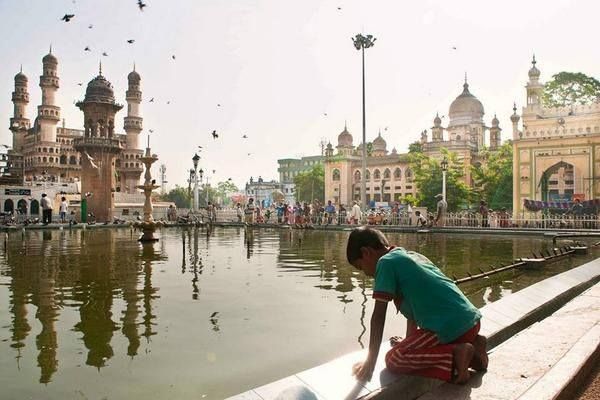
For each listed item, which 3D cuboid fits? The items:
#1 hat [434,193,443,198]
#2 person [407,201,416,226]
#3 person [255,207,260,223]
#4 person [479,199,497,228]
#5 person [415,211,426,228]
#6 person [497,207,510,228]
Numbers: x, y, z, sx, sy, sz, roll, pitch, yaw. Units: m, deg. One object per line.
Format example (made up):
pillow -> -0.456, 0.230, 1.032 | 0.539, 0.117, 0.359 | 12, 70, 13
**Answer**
hat -> 6.878, -0.248, 32.310 | 0.475, 0.169, 0.331 | 4, -6, -44
person -> 4.999, 0.554, 29.003 | 0.354, 1.031, 1.162 | 0, -1, 9
person -> -2.298, 0.770, 36.832 | 0.314, 0.787, 0.894 | 0, -1, -6
person -> 8.011, 0.552, 27.767 | 0.704, 1.080, 1.560 | -1, -1, 15
person -> 5.081, 0.752, 27.134 | 0.452, 0.654, 2.344 | 0, -1, 11
person -> 8.710, 0.697, 27.889 | 0.455, 0.764, 1.621 | -1, -1, 18
